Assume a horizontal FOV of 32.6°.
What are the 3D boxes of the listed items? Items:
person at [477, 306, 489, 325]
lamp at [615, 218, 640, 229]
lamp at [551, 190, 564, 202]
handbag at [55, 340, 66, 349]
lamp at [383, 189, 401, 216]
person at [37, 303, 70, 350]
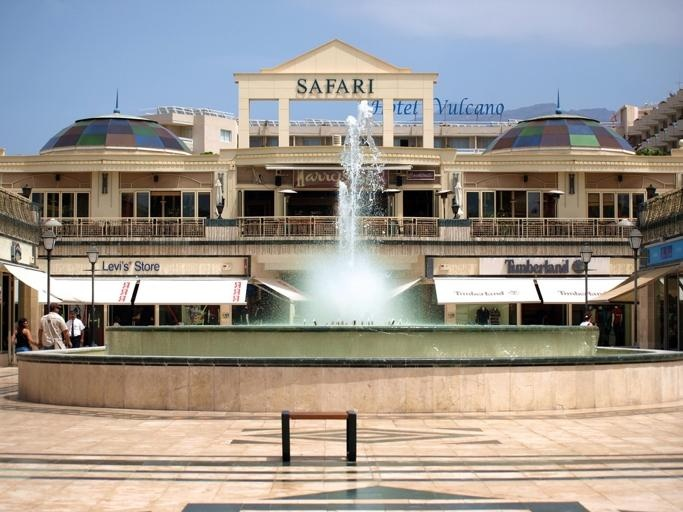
[{"bbox_3d":[5.640,2.392,46.653,0.597,0.834,0.348,1,-16,4],"label":"person"},{"bbox_3d":[11.473,-1.335,47.166,0.854,0.300,0.852,0,-2,3],"label":"lamp"},{"bbox_3d":[8.953,-2.549,48.575,0.529,0.413,0.557,3,-2,-25],"label":"lamp"},{"bbox_3d":[-8.019,2.518,33.308,0.349,0.400,0.226,-4,-5,-6],"label":"handbag"},{"bbox_3d":[2.196,-2.260,48.513,0.767,1.156,0.824,0,8,-2],"label":"lamp"},{"bbox_3d":[-8.205,2.156,33.386,0.839,1.369,2.045,-2,8,-13],"label":"person"}]
